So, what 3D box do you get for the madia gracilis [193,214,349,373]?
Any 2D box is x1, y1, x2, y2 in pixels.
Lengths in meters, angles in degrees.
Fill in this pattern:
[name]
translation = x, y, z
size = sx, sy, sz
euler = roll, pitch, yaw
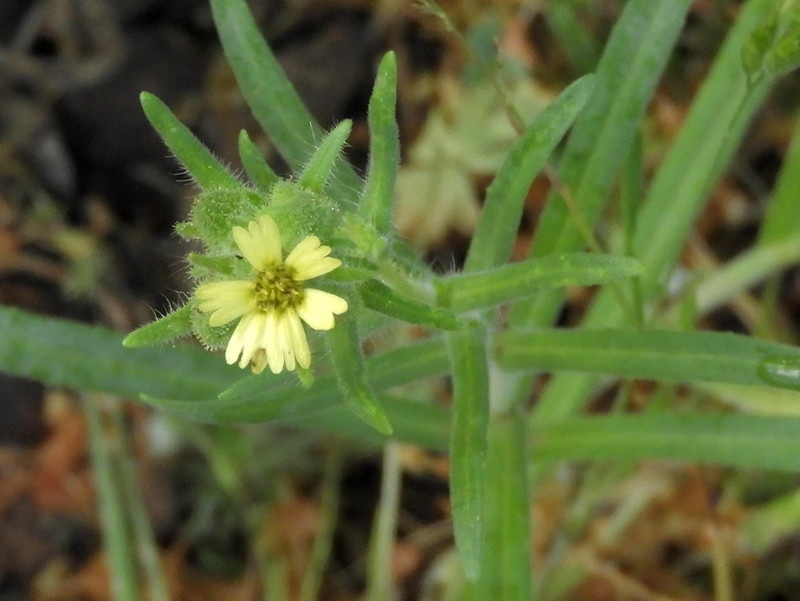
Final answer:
[madia gracilis]
translation = -0.218, -0.039, 1.545
size = 0.223, 0.212, 0.075
euler = -16, 59, 26
